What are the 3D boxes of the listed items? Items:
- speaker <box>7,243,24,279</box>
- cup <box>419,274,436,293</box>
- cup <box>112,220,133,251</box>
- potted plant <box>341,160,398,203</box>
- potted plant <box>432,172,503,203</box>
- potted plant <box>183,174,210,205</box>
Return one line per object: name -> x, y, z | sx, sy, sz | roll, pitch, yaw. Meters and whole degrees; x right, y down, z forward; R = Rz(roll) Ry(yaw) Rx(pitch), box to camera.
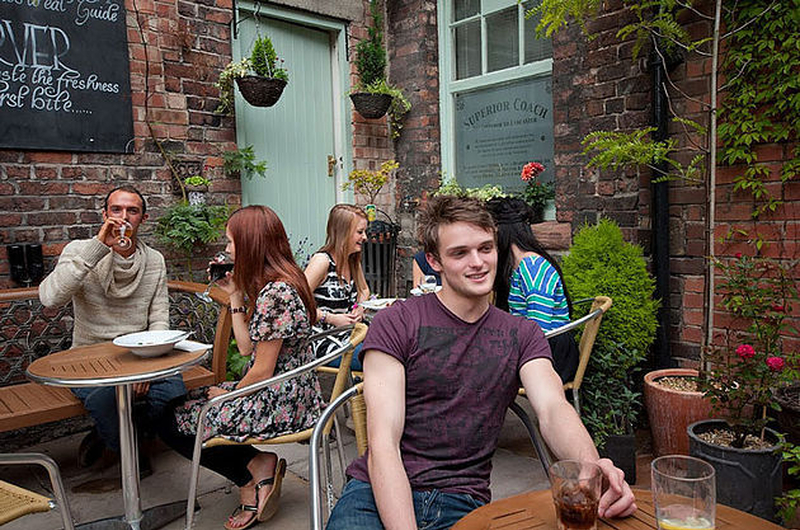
speaker -> -2.954, -0.019, 3.950 | 0.105, 0.289, 0.055 | -6, 9, -33
cup -> 0.202, 0.131, 3.934 | 0.130, 0.135, 0.130 | 0, 1, 0
cup -> -1.854, -0.205, 3.447 | 0.102, 0.199, 0.327 | -5, 8, -28
potted plant -> -0.330, -0.960, 5.758 | 0.543, 0.370, 0.535 | -3, 8, 11
potted plant -> 0.748, -0.834, 5.563 | 0.803, 0.354, 0.804 | 6, 13, 19
potted plant -> -1.872, -0.690, 4.701 | 0.261, 0.274, 0.256 | -1, 1, 7
